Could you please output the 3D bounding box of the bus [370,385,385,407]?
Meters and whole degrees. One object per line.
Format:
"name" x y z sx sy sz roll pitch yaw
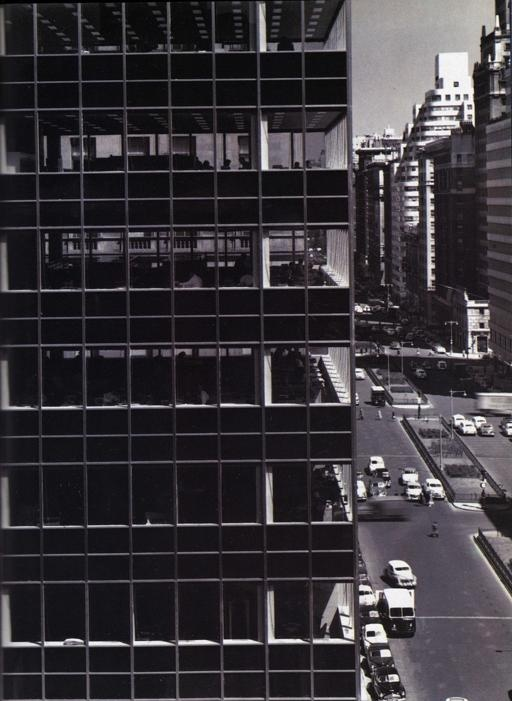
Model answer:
"bus" 14.773 5.690 156.626 1.348 2.401 4.318 -1 -1 3
